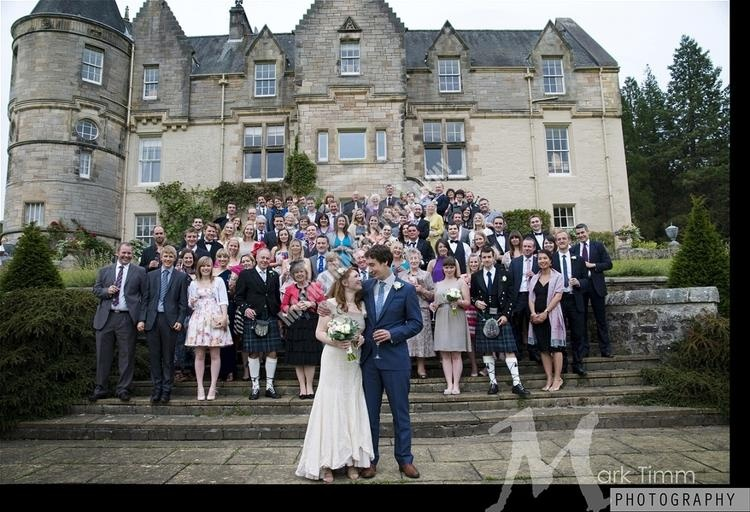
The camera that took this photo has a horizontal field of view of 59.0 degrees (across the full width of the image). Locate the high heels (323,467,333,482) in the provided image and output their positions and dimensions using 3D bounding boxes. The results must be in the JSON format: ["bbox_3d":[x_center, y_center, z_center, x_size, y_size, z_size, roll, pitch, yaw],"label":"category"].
[{"bbox_3d":[-0.768,3.685,11.185,0.231,0.214,0.138,1,-4,-34],"label":"high heels"}]

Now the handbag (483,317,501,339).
[{"bbox_3d":[2.365,1.463,13.548,0.328,0.377,0.164,1,2,10],"label":"handbag"}]

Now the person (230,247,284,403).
[{"bbox_3d":[-2.441,1.384,13.824,0.915,3.097,0.456,-1,-4,-9],"label":"person"}]

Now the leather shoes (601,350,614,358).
[{"bbox_3d":[5.135,2.179,14.680,0.221,0.207,0.117,-12,-13,34],"label":"leather shoes"}]

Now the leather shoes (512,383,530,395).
[{"bbox_3d":[2.943,2.742,13.619,0.424,0.164,0.156,-4,-3,32],"label":"leather shoes"}]

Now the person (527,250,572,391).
[{"bbox_3d":[3.596,1.350,13.956,0.727,2.897,0.640,-2,-4,12],"label":"person"}]

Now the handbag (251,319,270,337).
[{"bbox_3d":[-2.367,1.503,13.820,0.444,0.448,0.287,2,-8,-20],"label":"handbag"}]

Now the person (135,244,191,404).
[{"bbox_3d":[-4.429,1.396,13.792,0.982,3.229,0.449,0,-4,-12],"label":"person"}]

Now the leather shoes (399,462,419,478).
[{"bbox_3d":[0.568,3.636,11.290,0.179,0.159,0.388,1,-7,-26],"label":"leather shoes"}]

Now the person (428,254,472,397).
[{"bbox_3d":[1.581,1.432,13.797,0.831,2.837,0.828,-1,-4,2],"label":"person"}]

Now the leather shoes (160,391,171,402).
[{"bbox_3d":[-4.287,2.887,13.539,0.188,0.217,0.127,1,-4,-27],"label":"leather shoes"}]

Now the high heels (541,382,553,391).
[{"bbox_3d":[3.593,2.726,13.882,0.121,0.139,0.363,-6,-11,24],"label":"high heels"}]

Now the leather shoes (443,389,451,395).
[{"bbox_3d":[1.490,2.781,13.684,0.178,0.119,0.198,-1,-3,1],"label":"leather shoes"}]

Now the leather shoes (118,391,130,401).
[{"bbox_3d":[-5.185,2.872,13.648,0.216,0.203,0.169,0,-4,-19],"label":"leather shoes"}]

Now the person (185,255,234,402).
[{"bbox_3d":[-3.475,1.482,13.801,0.914,2.930,0.447,0,-4,-10],"label":"person"}]

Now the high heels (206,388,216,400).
[{"bbox_3d":[-3.394,2.826,13.659,0.174,0.235,0.341,0,-3,-11],"label":"high heels"}]

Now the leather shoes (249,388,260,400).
[{"bbox_3d":[-2.501,2.831,13.634,0.215,0.190,0.312,0,-3,-12],"label":"leather shoes"}]

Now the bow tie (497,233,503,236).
[{"bbox_3d":[3.064,-0.517,16.155,0.189,0.061,0.083,2,-4,-41],"label":"bow tie"}]

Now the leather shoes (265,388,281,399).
[{"bbox_3d":[-2.135,2.825,13.635,0.394,0.257,0.129,0,-3,-2],"label":"leather shoes"}]

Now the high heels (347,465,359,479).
[{"bbox_3d":[-0.371,3.651,11.215,0.199,0.213,0.113,-1,-4,-2],"label":"high heels"}]

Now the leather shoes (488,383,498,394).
[{"bbox_3d":[2.447,2.738,13.724,0.217,0.192,0.364,-2,-3,9],"label":"leather shoes"}]

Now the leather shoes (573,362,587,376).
[{"bbox_3d":[4.361,2.397,14.118,0.143,0.180,0.432,-3,-8,-2],"label":"leather shoes"}]

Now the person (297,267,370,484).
[{"bbox_3d":[-0.643,2.003,11.197,1.158,3.571,0.409,-1,-4,0],"label":"person"}]

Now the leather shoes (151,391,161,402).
[{"bbox_3d":[-4.524,2.870,13.562,0.236,0.233,0.132,-4,-4,37],"label":"leather shoes"}]

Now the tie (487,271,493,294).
[{"bbox_3d":[2.412,0.579,14.023,0.157,0.463,0.022,-5,-32,19],"label":"tie"}]

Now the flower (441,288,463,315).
[{"bbox_3d":[1.605,0.918,13.638,0.334,0.500,0.470,-2,-3,7],"label":"flower"}]
